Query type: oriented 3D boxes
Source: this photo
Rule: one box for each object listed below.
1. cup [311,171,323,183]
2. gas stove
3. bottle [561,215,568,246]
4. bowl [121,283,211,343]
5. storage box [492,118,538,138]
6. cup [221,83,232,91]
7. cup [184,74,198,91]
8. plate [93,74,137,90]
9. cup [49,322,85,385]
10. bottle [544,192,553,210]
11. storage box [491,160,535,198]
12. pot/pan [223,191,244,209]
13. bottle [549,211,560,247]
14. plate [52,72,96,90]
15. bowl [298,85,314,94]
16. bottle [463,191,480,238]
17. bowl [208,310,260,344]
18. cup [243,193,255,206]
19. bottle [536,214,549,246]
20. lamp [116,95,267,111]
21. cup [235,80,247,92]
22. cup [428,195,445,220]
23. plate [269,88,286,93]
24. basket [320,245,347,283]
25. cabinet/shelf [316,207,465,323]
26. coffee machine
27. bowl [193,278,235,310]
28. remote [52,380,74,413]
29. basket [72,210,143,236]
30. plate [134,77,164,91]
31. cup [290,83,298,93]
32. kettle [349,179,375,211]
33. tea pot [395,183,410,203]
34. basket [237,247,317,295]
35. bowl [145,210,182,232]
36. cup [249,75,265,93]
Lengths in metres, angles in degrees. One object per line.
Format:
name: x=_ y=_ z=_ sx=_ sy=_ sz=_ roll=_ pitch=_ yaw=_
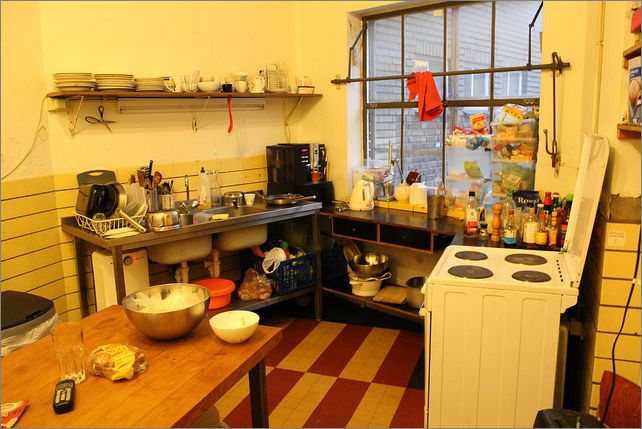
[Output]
cup: x=-0.047 y=-0.383 z=4.740 sx=0.130 sy=0.125 sz=0.084 roll=0 pitch=5 yaw=-23
gas stove: x=1.102 y=0.316 z=2.875 sx=0.852 sy=0.147 sz=0.627 roll=2 pitch=14 yaw=13
bottle: x=1.682 y=0.114 z=3.208 sx=0.041 sy=0.197 sz=0.124 roll=6 pitch=15 yaw=25
bowl: x=-0.789 y=0.491 z=2.395 sx=0.339 sy=0.170 sz=0.337 roll=0 pitch=10 yaw=0
storage box: x=1.594 y=-0.683 z=3.760 sx=0.248 sy=0.104 sz=0.166 roll=2 pitch=4 yaw=37
cup: x=-0.878 y=-1.198 z=4.359 sx=0.090 sy=0.071 sz=0.109 roll=-4 pitch=14 yaw=-10
cup: x=-1.151 y=-1.162 z=4.094 sx=0.126 sy=0.131 sz=0.127 roll=-1 pitch=5 yaw=0
plate: x=-1.636 y=-1.062 z=3.689 sx=0.183 sy=0.075 sz=0.185 roll=6 pitch=9 yaw=40
cup: x=-1.163 y=0.642 z=2.162 sx=0.124 sy=0.235 sz=0.231 roll=-10 pitch=16 yaw=-31
bottle: x=1.613 y=-0.094 z=3.294 sx=0.043 sy=0.125 sz=0.115 roll=7 pitch=16 yaw=29
storage box: x=1.577 y=-0.313 z=3.817 sx=0.343 sy=0.285 sz=0.130 roll=5 pitch=15 yaw=22
pot/pan: x=-0.834 y=-0.144 z=4.440 sx=0.148 sy=0.092 sz=0.146 roll=-4 pitch=9 yaw=-36
bottle: x=1.618 y=0.097 z=3.209 sx=0.069 sy=0.252 sz=0.111 roll=6 pitch=15 yaw=26
plate: x=-1.929 y=-1.038 z=3.610 sx=0.202 sy=0.084 sz=0.202 roll=4 pitch=11 yaw=19
bowl: x=-0.140 y=-1.303 z=4.835 sx=0.183 sy=0.091 sz=0.081 roll=-8 pitch=16 yaw=-27
bottle: x=1.179 y=-0.006 z=3.601 sx=0.108 sy=0.325 sz=0.239 roll=4 pitch=15 yaw=19
bowl: x=-0.447 y=0.589 z=2.374 sx=0.256 sy=0.091 sz=0.256 roll=0 pitch=5 yaw=0
cup: x=-0.673 y=-0.145 z=4.473 sx=0.112 sy=0.083 sz=0.088 roll=-4 pitch=4 yaw=1
bottle: x=1.541 y=0.109 z=3.218 sx=0.073 sy=0.213 sz=0.089 roll=6 pitch=15 yaw=26
lamp: x=-1.188 y=-1.045 z=4.394 sx=1.408 sy=0.133 sz=0.150 roll=-10 pitch=16 yaw=-32
cup: x=-0.753 y=-1.231 z=4.457 sx=0.120 sy=0.094 sz=0.110 roll=-1 pitch=12 yaw=0
cup: x=1.025 y=-0.070 z=4.128 sx=0.145 sy=0.213 sz=0.131 roll=2 pitch=14 yaw=13
plate: x=-0.424 y=-1.257 z=4.691 sx=0.199 sy=0.039 sz=0.138 roll=-5 pitch=14 yaw=-15
basket: x=0.095 y=0.506 z=4.830 sx=0.320 sy=0.194 sz=0.312 roll=-10 pitch=9 yaw=-31
cabinet/shelf: x=0.613 y=0.431 z=4.070 sx=1.075 sy=0.690 sz=0.380 roll=7 pitch=9 yaw=42
coffee machine: x=-0.250 y=-0.448 z=4.873 sx=0.682 sy=0.856 sz=0.589 roll=8 pitch=16 yaw=35
bowl: x=-0.932 y=0.694 z=4.097 sx=0.342 sy=0.124 sz=0.312 roll=7 pitch=14 yaw=-2
remote: x=-1.117 y=0.790 z=2.021 sx=0.083 sy=0.039 sz=0.156 roll=-5 pitch=22 yaw=-20
basket: x=-1.647 y=0.078 z=3.570 sx=0.287 sy=0.072 sz=0.276 roll=15 pitch=19 yaw=40
plate: x=-1.431 y=-1.089 z=3.880 sx=0.147 sy=0.056 sz=0.145 roll=-6 pitch=11 yaw=-39
cup: x=-0.287 y=-1.321 z=4.841 sx=0.094 sy=0.076 sz=0.086 roll=1 pitch=10 yaw=0
kettle: x=0.403 y=-0.180 z=4.478 sx=0.205 sy=0.250 sz=0.294 roll=-5 pitch=14 yaw=-27
tea pot: x=0.808 y=-0.201 z=4.457 sx=0.176 sy=0.179 sz=0.139 roll=4 pitch=4 yaw=12
basket: x=-0.404 y=0.552 z=4.519 sx=0.476 sy=0.285 sz=0.483 roll=4 pitch=9 yaw=44
bowl: x=-1.239 y=0.030 z=3.636 sx=0.191 sy=0.095 sz=0.188 roll=1 pitch=7 yaw=0
cup: x=-0.610 y=-1.281 z=4.535 sx=0.194 sy=0.166 sz=0.129 roll=-14 pitch=19 yaw=-42
